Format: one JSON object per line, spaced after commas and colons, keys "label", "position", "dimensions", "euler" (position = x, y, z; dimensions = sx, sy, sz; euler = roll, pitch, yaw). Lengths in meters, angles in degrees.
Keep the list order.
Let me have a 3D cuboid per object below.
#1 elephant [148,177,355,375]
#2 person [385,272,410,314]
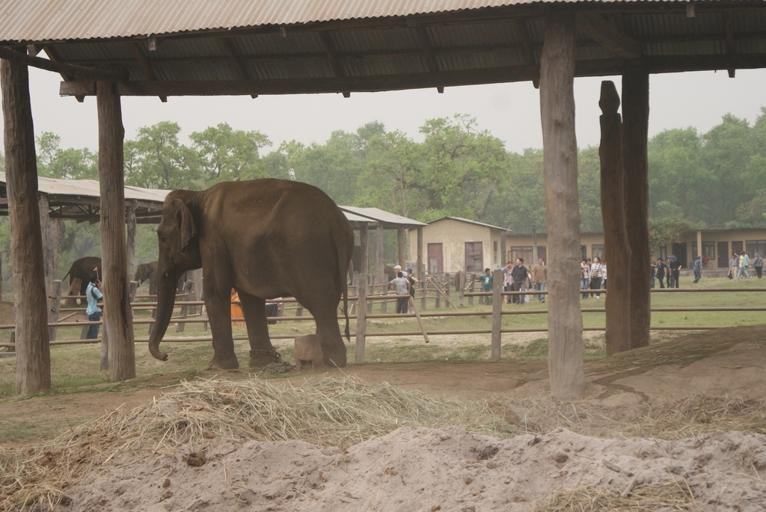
{"label": "elephant", "position": [-2.377, 0.294, 18.279], "dimensions": [3.743, 3.446, 1.910], "euler": [-1, 4, 19]}
{"label": "person", "position": [0.440, 0.948, 27.149], "dimensions": [0.463, 1.314, 0.349], "euler": [1, 27, 4]}
